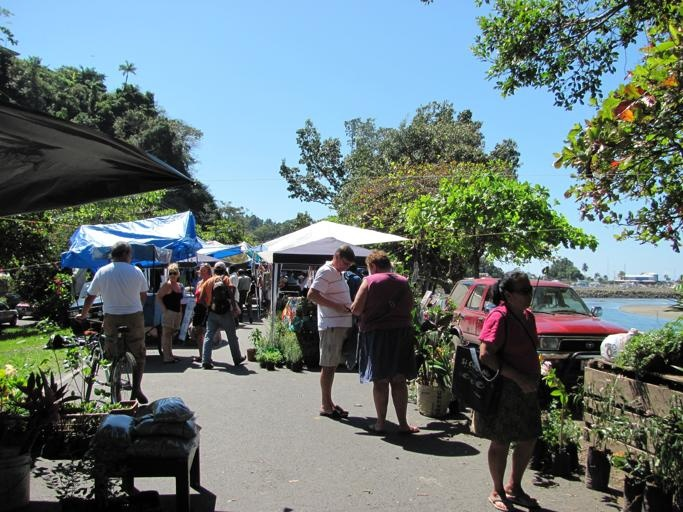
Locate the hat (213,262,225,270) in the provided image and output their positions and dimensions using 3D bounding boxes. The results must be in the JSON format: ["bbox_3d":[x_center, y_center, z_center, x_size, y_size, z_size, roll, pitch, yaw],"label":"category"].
[{"bbox_3d":[-2.808,0.246,11.210,0.256,0.174,0.334,1,2,-13],"label":"hat"}]

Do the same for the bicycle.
[{"bbox_3d":[-3.397,1.650,7.499,0.847,1.195,2.070,12,-5,-21],"label":"bicycle"}]

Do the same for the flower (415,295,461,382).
[{"bbox_3d":[1.443,1.319,7.784,0.662,0.987,0.770,9,-8,37],"label":"flower"}]

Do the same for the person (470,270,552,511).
[{"bbox_3d":[1.588,1.262,4.608,0.615,1.553,0.432,2,-1,4],"label":"person"}]

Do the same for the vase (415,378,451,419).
[{"bbox_3d":[1.393,2.201,7.519,0.548,0.427,0.525,1,-8,5],"label":"vase"}]

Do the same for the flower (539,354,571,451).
[{"bbox_3d":[2.588,1.799,5.948,0.482,0.371,1.465,0,0,23],"label":"flower"}]

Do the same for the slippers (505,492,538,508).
[{"bbox_3d":[1.697,2.320,4.620,0.289,0.071,0.119,-1,0,27],"label":"slippers"}]

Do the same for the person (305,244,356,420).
[{"bbox_3d":[-0.174,1.094,7.175,0.635,2.159,0.673,2,-1,2],"label":"person"}]

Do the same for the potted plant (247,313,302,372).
[{"bbox_3d":[-1.511,1.923,10.907,1.042,0.891,1.200,3,-4,-6],"label":"potted plant"}]

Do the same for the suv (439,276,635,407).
[{"bbox_3d":[3.762,1.658,10.261,2.142,1.690,3.858,1,-6,-18],"label":"suv"}]
